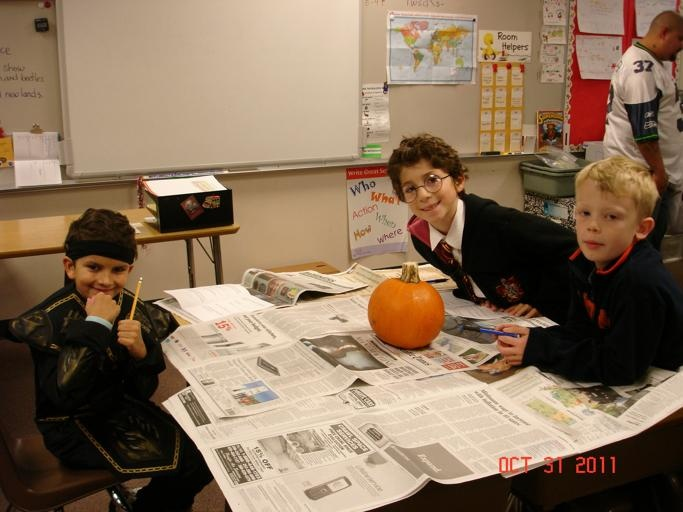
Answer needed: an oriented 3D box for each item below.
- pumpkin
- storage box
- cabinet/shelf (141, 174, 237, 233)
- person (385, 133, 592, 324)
[{"bbox_3d":[0.179,0.149,1.358,0.229,0.235,0.226,0,11,-5],"label":"pumpkin"},{"bbox_3d":[1.564,-0.606,3.694,0.343,0.186,0.446,-7,16,-22],"label":"storage box"},{"bbox_3d":[-0.746,-0.263,2.407,0.328,0.156,0.330,-11,19,-28],"label":"cabinet/shelf"},{"bbox_3d":[0.505,-0.090,1.797,0.592,0.799,0.448,-8,16,36],"label":"person"}]
